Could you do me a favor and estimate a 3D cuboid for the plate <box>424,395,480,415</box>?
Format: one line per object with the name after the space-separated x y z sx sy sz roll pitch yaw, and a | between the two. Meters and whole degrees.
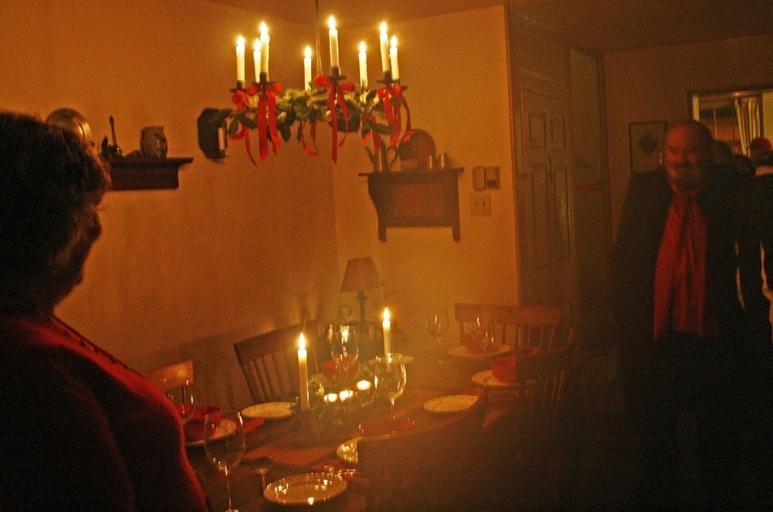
0.244 0.554 2.627 0.146 0.023 0.152 -6 9 -9 | plate

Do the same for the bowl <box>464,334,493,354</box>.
0.421 0.391 3.216 0.088 0.059 0.092 -2 4 0 | bowl

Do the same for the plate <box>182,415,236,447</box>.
-0.643 0.613 2.476 0.176 0.039 0.190 -1 3 4 | plate

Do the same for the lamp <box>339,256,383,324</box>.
-0.139 0.211 4.159 0.222 0.472 0.504 -5 13 -1 | lamp

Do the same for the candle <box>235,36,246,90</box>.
-0.538 -0.714 2.613 0.033 0.189 0.156 -7 13 -7 | candle

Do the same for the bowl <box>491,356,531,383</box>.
0.477 0.423 2.817 0.108 0.061 0.121 8 18 38 | bowl
